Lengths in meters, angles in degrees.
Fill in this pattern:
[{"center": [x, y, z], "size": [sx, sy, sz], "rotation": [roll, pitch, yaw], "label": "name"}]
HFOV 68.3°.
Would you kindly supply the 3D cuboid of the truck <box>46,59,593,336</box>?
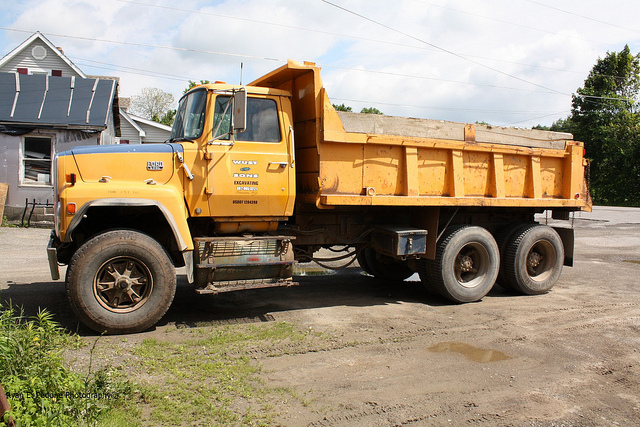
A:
[{"center": [-0.712, -0.154, 10.096], "size": [12.125, 4.481, 4.662], "rotation": [2, -2, -24], "label": "truck"}]
